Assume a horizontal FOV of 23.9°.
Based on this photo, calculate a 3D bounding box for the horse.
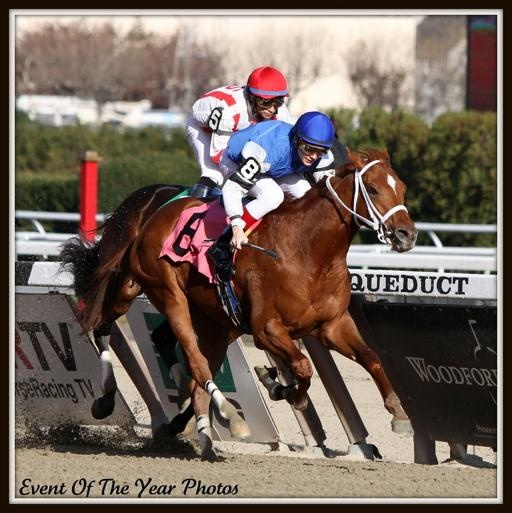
[{"bbox_3d":[-0.109,0.247,6.687,0.726,1.739,2.140,-10,14,-43],"label":"horse"}]

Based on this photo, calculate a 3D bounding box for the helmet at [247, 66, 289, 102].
[{"bbox_3d":[0.052,-0.964,6.712,0.158,0.127,0.210,-2,15,-30],"label":"helmet"}]

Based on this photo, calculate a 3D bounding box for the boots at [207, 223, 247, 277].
[{"bbox_3d":[-0.163,-0.025,6.416,0.156,0.096,0.252,-32,36,31],"label":"boots"}]

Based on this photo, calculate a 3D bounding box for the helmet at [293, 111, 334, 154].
[{"bbox_3d":[0.292,-0.657,6.273,0.149,0.112,0.217,9,32,-29],"label":"helmet"}]
